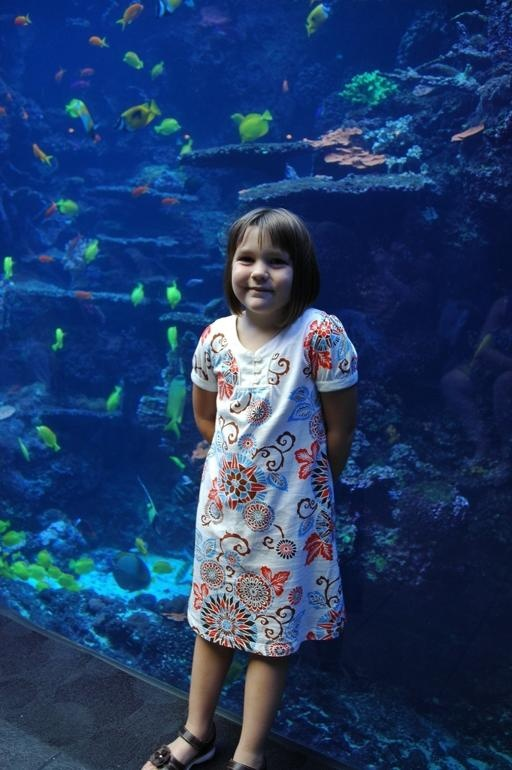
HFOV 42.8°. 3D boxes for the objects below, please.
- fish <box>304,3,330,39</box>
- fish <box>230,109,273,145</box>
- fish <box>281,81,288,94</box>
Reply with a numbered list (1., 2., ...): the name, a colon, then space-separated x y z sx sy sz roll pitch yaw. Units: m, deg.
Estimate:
1. fish: 0.426 -2.545 4.555 0.137 0.190 0.348 9 6 -6
2. fish: -0.004 -2.016 5.127 0.133 0.245 0.362 -24 12 -33
3. fish: 0.227 -2.315 5.092 0.078 0.097 0.037 -6 9 -23
